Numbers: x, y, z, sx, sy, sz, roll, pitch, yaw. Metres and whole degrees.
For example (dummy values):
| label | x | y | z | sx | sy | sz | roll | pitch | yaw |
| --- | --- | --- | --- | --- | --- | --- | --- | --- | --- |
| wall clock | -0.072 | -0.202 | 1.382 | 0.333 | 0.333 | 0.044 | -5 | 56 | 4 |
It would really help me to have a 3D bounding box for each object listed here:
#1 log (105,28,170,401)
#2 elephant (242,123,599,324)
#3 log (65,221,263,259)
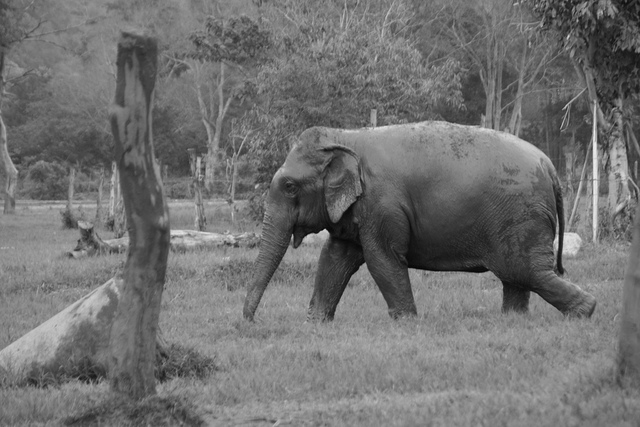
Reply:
| label | x | y | z | sx | sy | sz | roll | pitch | yaw |
| --- | --- | --- | --- | --- | --- | --- | --- | --- | --- |
| log | -3.125 | -0.056 | 14.309 | 1.004 | 5.893 | 1.157 | -1 | 9 | -25 |
| elephant | 2.086 | 0.344 | 17.677 | 7.232 | 4.666 | 2.755 | 1 | 14 | 8 |
| log | -3.900 | 0.675 | 20.843 | 4.159 | 1.000 | 0.751 | -2 | -1 | -12 |
